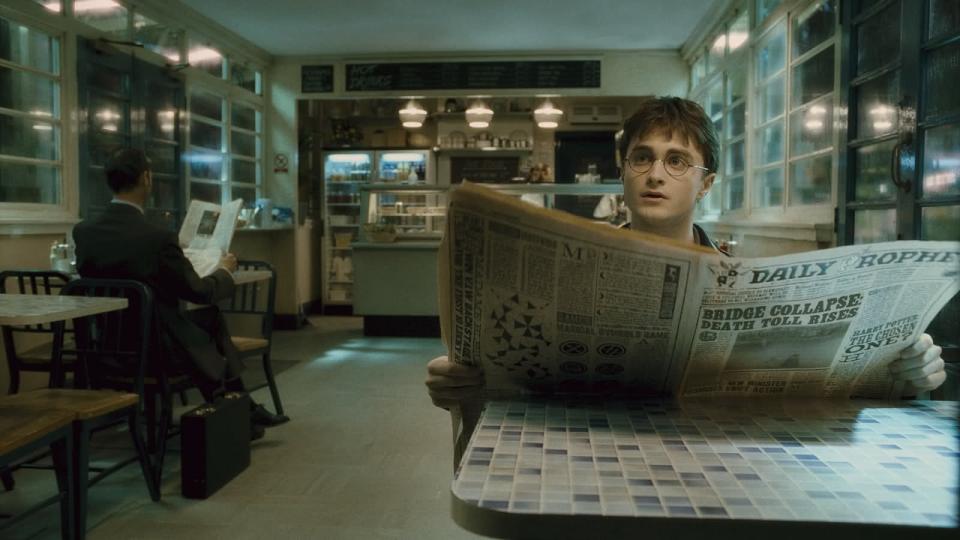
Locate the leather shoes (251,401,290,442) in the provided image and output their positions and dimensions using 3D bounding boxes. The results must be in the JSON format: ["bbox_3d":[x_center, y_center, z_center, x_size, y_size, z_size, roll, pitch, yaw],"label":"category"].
[{"bbox_3d":[-1.496,1.032,5.053,0.396,0.160,0.152,-2,1,-15],"label":"leather shoes"}]

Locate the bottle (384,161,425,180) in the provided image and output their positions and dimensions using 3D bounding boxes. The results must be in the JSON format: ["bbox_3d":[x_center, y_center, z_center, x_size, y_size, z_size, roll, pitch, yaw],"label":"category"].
[{"bbox_3d":[-1.034,-1.379,9.946,0.437,0.177,0.208,1,3,9],"label":"bottle"}]

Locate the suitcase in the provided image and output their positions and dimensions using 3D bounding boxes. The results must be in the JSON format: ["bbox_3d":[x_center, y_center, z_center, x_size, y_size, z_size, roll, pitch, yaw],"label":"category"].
[{"bbox_3d":[-1.632,1.107,4.458,0.229,0.588,0.669,-1,3,16],"label":"suitcase"}]

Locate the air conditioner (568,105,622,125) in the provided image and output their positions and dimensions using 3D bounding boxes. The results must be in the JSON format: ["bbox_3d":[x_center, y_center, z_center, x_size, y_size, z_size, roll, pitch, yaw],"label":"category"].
[{"bbox_3d":[1.670,-2.260,10.322,0.558,0.169,0.376,0,0,2],"label":"air conditioner"}]

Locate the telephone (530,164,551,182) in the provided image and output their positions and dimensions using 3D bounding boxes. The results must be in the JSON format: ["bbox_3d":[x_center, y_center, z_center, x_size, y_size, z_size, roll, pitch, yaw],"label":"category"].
[{"bbox_3d":[0.833,-1.314,9.960,0.302,0.117,0.329,3,-10,-6],"label":"telephone"}]
